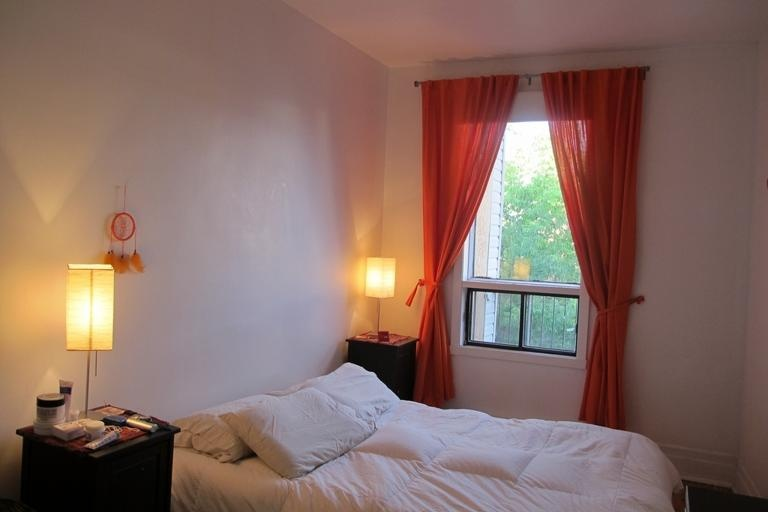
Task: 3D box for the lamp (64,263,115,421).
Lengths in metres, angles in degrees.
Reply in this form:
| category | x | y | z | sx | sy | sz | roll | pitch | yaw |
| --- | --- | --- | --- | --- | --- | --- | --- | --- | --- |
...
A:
| category | x | y | z | sx | sy | sz | roll | pitch | yaw |
| --- | --- | --- | --- | --- | --- | --- | --- | --- | --- |
| lamp | -1.738 | 0.302 | 3.364 | 0.243 | 0.493 | 0.137 | 3 | -1 | -24 |

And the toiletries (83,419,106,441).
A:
| category | x | y | z | sx | sy | sz | roll | pitch | yaw |
| --- | --- | --- | --- | --- | --- | --- | --- | --- | --- |
| toiletries | -1.632 | 0.984 | 3.205 | 0.082 | 0.091 | 0.122 | 3 | -2 | -42 |

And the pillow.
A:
| category | x | y | z | sx | sy | sz | roll | pitch | yaw |
| --- | --- | --- | --- | --- | --- | --- | --- | --- | --- |
| pillow | -0.517 | 1.124 | 3.858 | 0.641 | 0.261 | 0.825 | 12 | 4 | 40 |

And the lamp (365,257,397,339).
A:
| category | x | y | z | sx | sy | sz | roll | pitch | yaw |
| --- | --- | --- | --- | --- | --- | --- | --- | --- | --- |
| lamp | -0.050 | 0.393 | 5.694 | 0.306 | 0.627 | 0.475 | 2 | -1 | 1 |
